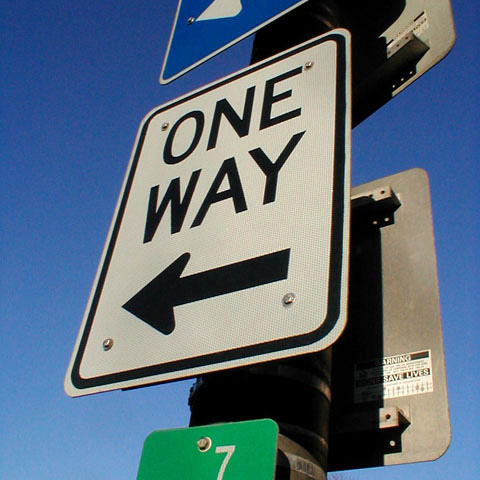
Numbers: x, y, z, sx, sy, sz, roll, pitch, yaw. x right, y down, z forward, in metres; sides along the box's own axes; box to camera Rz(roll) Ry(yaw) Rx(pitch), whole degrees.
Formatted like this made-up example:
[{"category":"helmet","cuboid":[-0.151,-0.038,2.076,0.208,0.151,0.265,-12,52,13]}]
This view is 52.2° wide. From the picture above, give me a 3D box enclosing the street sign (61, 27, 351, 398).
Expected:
[{"category":"street sign","cuboid":[-0.049,-0.098,1.205,0.570,1.009,0.064,-13,-46,19]}]
